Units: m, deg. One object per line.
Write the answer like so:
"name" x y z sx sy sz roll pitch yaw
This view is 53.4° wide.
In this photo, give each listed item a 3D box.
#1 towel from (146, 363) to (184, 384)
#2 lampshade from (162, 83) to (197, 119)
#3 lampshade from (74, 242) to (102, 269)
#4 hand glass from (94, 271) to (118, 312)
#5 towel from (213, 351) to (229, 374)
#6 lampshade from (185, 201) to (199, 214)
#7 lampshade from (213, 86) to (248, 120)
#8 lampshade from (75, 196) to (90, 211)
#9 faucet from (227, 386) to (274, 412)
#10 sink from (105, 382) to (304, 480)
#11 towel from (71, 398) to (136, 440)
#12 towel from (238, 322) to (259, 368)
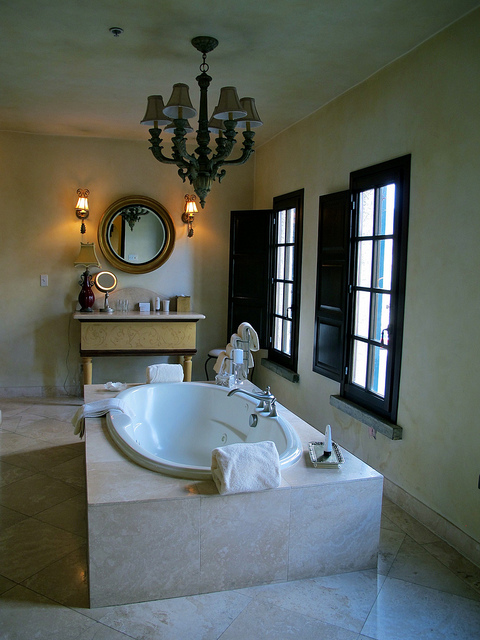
"towel" -0.509 0.359 3.208 0.235 0.116 0.179 1 3 -12
"lampshade" -0.281 -0.981 2.166 0.138 0.201 0.254 1 3 -11
"lampshade" -1.455 -0.598 4.571 0.216 0.261 0.238 2 3 31
"hand glass" -1.308 -0.281 4.672 0.224 0.402 0.295 1 3 -18
"towel" -0.140 0.313 3.556 0.087 0.154 0.263 4 1 -11
"lampshade" -0.497 -1.144 4.866 0.113 0.135 0.110 1 13 -2
"lampshade" -0.054 -0.941 2.163 0.146 0.117 0.153 0 4 1
"lampshade" -1.516 -1.111 4.598 0.121 0.135 0.125 11 5 11
"faucet" 0.017 0.433 2.623 0.326 0.180 0.105 5 -4 -37
"sink" -0.256 0.656 2.587 0.905 0.427 1.244 1 3 -16
"towel" -0.748 0.483 2.656 0.319 0.219 0.385 3 10 -3
"towel" 0.077 0.205 3.367 0.098 0.322 0.311 1 -7 4
